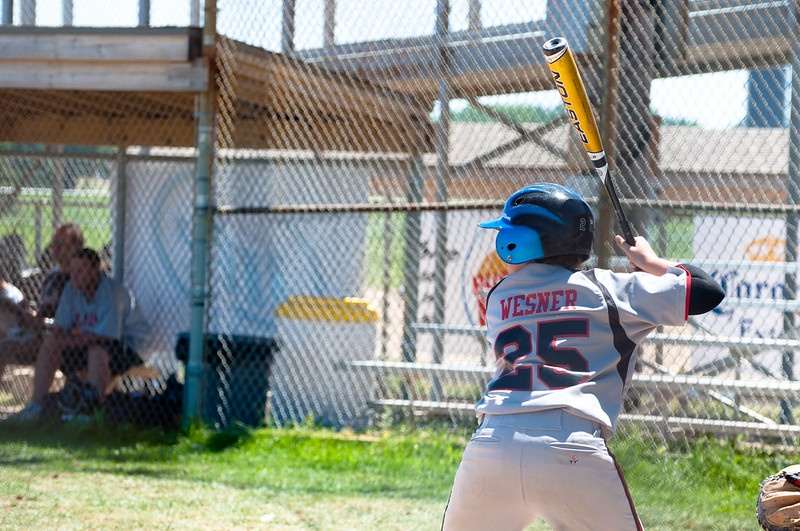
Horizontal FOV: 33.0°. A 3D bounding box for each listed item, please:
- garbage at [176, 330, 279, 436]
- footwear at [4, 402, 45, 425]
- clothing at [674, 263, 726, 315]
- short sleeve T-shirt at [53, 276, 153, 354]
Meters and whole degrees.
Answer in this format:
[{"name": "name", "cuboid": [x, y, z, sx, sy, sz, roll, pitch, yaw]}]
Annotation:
[{"name": "garbage", "cuboid": [-1.693, 1.203, 13.413, 0.830, 1.036, 0.998, -1, -7, 16]}, {"name": "footwear", "cuboid": [-3.654, 1.462, 13.108, 0.232, 0.061, 0.244, -19, 4, 13]}, {"name": "clothing", "cuboid": [2.175, 0.190, 9.687, 0.256, 0.224, 0.363, 4, 3, -1]}, {"name": "short sleeve T-shirt", "cuboid": [-2.858, 0.551, 13.512, 0.504, 0.360, 0.953, 13, -19, 34]}]
